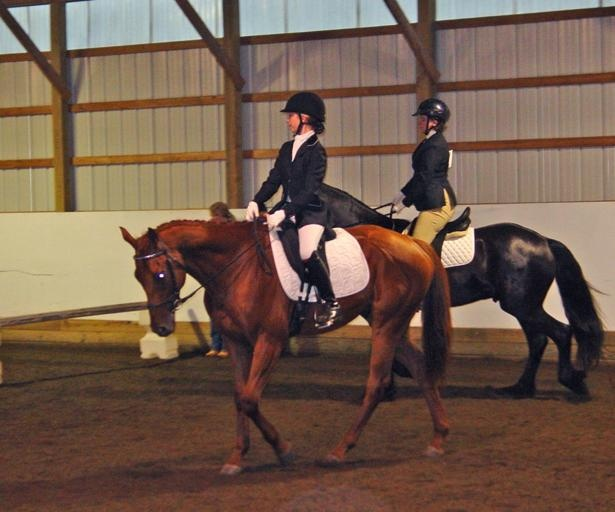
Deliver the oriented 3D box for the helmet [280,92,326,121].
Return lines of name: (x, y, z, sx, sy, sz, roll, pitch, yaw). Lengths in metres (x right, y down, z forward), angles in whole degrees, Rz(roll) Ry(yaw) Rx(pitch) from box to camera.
helmet: (-0.042, -1.399, 10.028, 0.351, 0.214, 0.250, 8, 1, -16)

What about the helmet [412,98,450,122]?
helmet: (1.357, -1.576, 11.570, 0.320, 0.212, 0.254, 9, 2, 0)

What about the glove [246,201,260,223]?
glove: (-0.521, -0.416, 9.969, 0.119, 0.170, 0.048, 6, -18, -18)

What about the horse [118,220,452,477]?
horse: (-0.054, 0.823, 10.124, 3.246, 2.447, 0.919, 0, -2, -23)

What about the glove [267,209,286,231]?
glove: (-0.272, -0.322, 9.810, 0.126, 0.205, 0.074, 42, -1, 29)

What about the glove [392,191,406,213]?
glove: (0.993, -0.575, 11.561, 0.119, 0.226, 0.058, 10, -18, 25)

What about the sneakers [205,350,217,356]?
sneakers: (-1.273, 1.287, 14.079, 0.123, 0.055, 0.064, 4, -2, -27)
